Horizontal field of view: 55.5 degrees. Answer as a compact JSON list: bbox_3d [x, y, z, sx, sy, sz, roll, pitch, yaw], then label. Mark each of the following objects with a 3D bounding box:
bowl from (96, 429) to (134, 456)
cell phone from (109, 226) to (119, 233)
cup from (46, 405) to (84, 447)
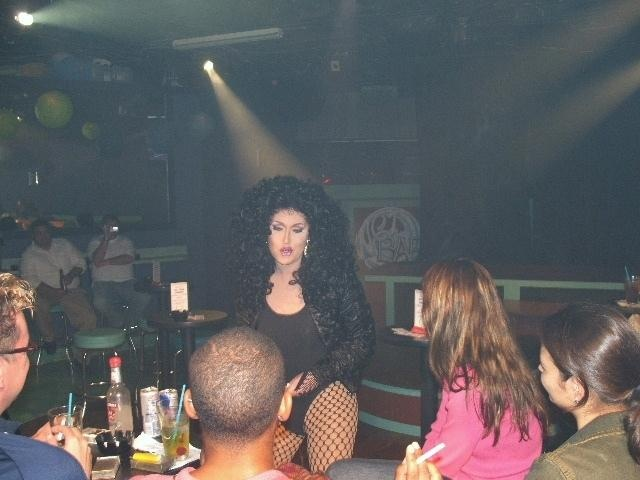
[{"bbox_3d":[-0.983,0.972,2.900,0.167,0.101,0.158,0,-3,0],"label":"bowl"},{"bbox_3d":[-2.426,-0.117,7.151,0.117,0.058,0.073,5,0,-9],"label":"cell phone"},{"bbox_3d":[-1.174,0.859,2.808,0.148,0.140,0.136,2,0,0],"label":"cup"}]
